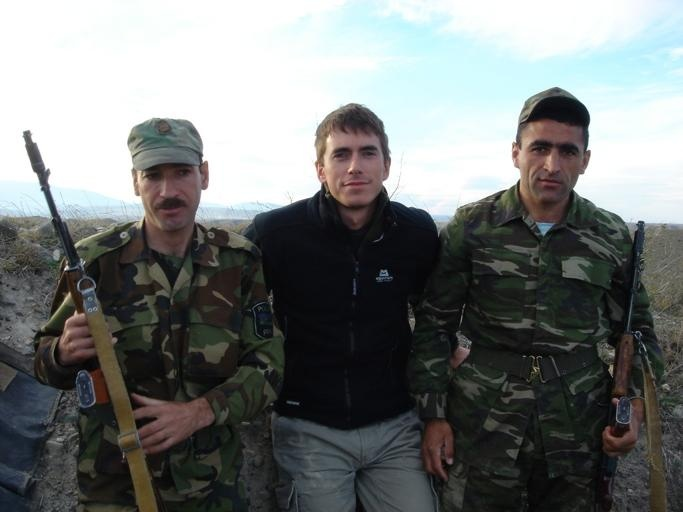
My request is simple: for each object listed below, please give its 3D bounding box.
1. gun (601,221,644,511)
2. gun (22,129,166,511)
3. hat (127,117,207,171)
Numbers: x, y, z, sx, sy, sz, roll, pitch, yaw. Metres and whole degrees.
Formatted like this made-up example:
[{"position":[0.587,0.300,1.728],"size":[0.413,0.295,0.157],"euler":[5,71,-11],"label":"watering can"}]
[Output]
[{"position":[2.119,0.840,3.886],"size":[0.191,2.183,0.645],"euler":[3,9,29],"label":"gun"},{"position":[-1.837,0.737,3.822],"size":[0.261,3.139,0.636],"euler":[-18,6,-8],"label":"gun"},{"position":[-1.316,-0.895,3.799],"size":[0.539,0.250,0.686],"euler":[-9,37,-19],"label":"hat"}]
